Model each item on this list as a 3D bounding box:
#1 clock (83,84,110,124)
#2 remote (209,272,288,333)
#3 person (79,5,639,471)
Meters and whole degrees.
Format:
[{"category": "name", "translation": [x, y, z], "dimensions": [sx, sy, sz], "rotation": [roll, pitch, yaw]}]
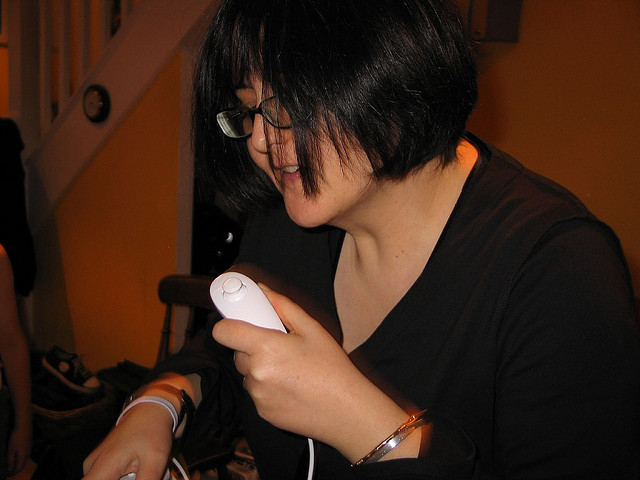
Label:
[{"category": "clock", "translation": [-1.014, -0.618, 2.573], "dimensions": [0.138, 0.134, 0.065], "rotation": [53, 23, 7]}, {"category": "remote", "translation": [-0.145, 0.138, 1.171], "dimensions": [0.177, 0.081, 0.048], "rotation": [42, -11, 7]}, {"category": "person", "translation": [0.152, -0.045, 1.165], "dimensions": [0.943, 0.797, 0.592], "rotation": [12, 24, -2]}]
